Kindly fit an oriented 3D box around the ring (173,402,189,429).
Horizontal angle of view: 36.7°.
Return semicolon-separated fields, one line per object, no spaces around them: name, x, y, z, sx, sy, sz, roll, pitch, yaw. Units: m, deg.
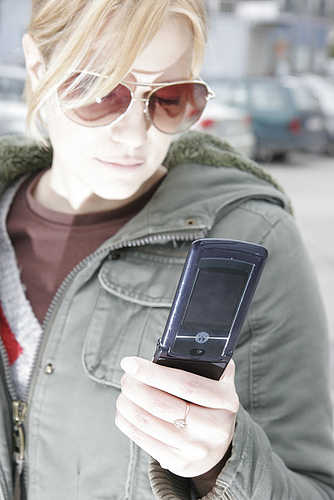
ring;0.020;0.271;0.830;0.026;0.015;0.031;4;84;5

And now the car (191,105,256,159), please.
car;0.970;-2.154;8.481;0.926;0.717;1.575;-1;24;3

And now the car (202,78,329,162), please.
car;2.250;-3.012;11.734;2.304;1.652;3.584;-1;24;0
